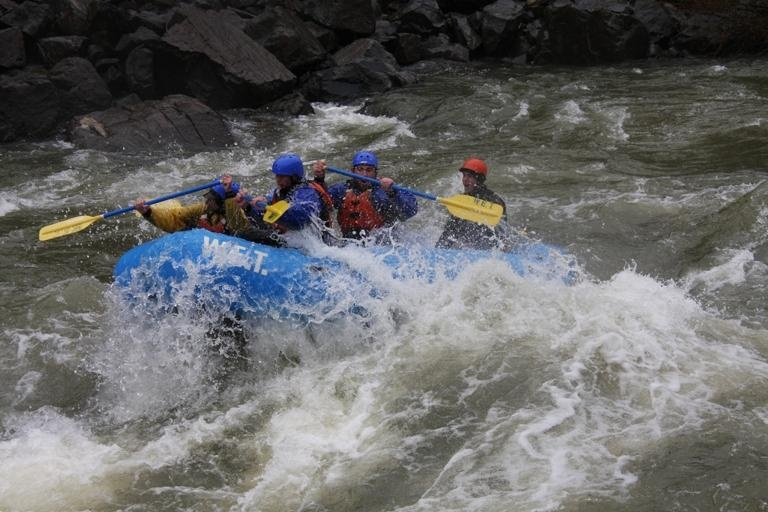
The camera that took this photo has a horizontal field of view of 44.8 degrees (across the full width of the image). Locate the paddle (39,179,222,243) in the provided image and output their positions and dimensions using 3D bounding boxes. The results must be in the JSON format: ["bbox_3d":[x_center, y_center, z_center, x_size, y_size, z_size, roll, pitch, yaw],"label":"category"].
[{"bbox_3d":[-4.125,-0.685,14.903,3.791,0.362,0.215,-16,-7,10],"label":"paddle"}]

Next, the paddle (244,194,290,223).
[{"bbox_3d":[-1.660,-0.627,13.383,0.625,0.500,0.322,14,33,27],"label":"paddle"}]

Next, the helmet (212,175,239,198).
[{"bbox_3d":[-2.259,-1.001,13.278,0.395,0.277,0.246,-13,58,-11],"label":"helmet"}]

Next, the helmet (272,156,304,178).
[{"bbox_3d":[-1.393,-1.351,13.707,0.431,0.296,0.313,-17,33,-20],"label":"helmet"}]

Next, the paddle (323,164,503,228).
[{"bbox_3d":[0.502,-0.920,14.930,3.497,0.417,0.241,17,11,8],"label":"paddle"}]
